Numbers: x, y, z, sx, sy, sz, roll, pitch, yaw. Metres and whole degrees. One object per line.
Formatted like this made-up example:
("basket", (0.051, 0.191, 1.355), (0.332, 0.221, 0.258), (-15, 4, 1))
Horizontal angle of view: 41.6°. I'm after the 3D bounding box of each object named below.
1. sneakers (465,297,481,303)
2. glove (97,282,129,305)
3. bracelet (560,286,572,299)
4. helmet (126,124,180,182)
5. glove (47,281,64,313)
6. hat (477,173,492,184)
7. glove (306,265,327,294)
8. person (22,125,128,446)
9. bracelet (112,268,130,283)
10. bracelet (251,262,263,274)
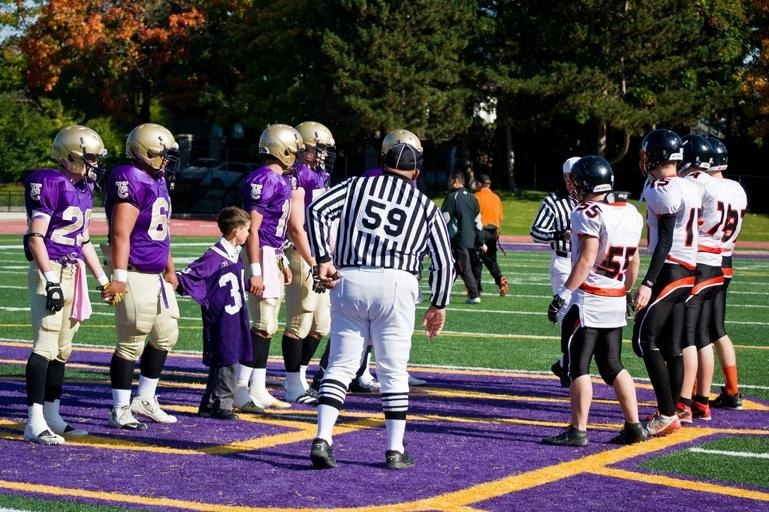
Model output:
("sneakers", (1.644, 0.812, 18.704), (0.252, 0.128, 0.111), (2, 10, 9))
("glove", (-2.829, 0.393, 10.615), (0.204, 0.137, 0.273), (9, -12, -11))
("bracelet", (1.873, 0.367, 10.501), (0.108, 0.115, 0.106), (-4, 14, -17))
("helmet", (-2.510, -1.149, 11.060), (0.579, 0.593, 0.491), (11, 13, -15))
("glove", (-3.318, 0.417, 10.210), (0.204, 0.268, 0.108), (10, -5, -26))
("hat", (1.974, -1.483, 19.915), (0.221, 0.124, 0.317), (1, 14, 5))
("glove", (-0.733, 0.261, 10.569), (0.143, 0.357, 0.263), (-13, -1, 10))
("person", (-3.340, 0.267, 10.530), (0.931, 3.170, 0.700), (-5, 9, -37))
("bracelet", (-2.730, 0.197, 10.515), (0.129, 0.143, 0.136), (11, 16, 4))
("bracelet", (-1.452, 0.134, 11.473), (0.104, 0.121, 0.113), (5, 12, 29))
